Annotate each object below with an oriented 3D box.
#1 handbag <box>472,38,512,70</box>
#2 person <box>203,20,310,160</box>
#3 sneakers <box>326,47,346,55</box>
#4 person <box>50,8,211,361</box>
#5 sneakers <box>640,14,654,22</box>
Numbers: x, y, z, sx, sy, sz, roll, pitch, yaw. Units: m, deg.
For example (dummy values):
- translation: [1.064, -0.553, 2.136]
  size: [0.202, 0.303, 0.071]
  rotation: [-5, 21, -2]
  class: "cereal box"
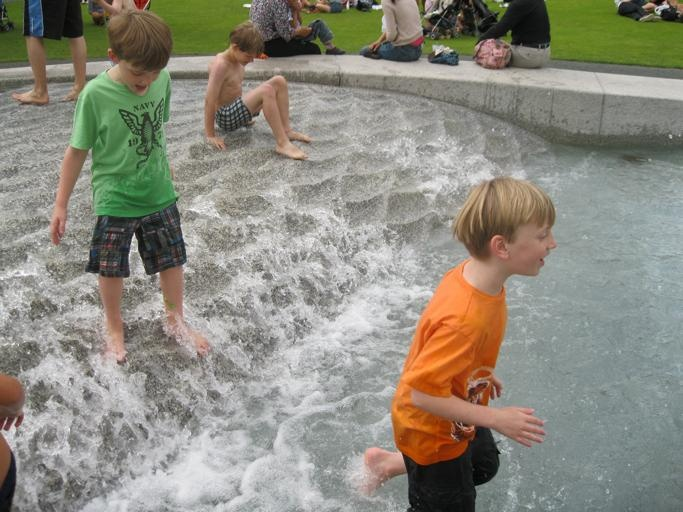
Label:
- translation: [2.077, -2.797, 7.989]
  size: [0.494, 0.360, 0.275]
  rotation: [16, 25, 23]
  class: "handbag"
- translation: [-0.809, -1.617, 5.523]
  size: [0.955, 1.146, 0.735]
  rotation: [3, 23, -5]
  class: "person"
- translation: [-0.092, -3.097, 8.751]
  size: [0.255, 0.115, 0.130]
  rotation: [-6, 33, -10]
  class: "sneakers"
- translation: [-1.190, -0.330, 3.245]
  size: [0.774, 1.942, 0.439]
  rotation: [-7, 26, -27]
  class: "person"
- translation: [6.606, -5.096, 12.415]
  size: [0.331, 0.129, 0.154]
  rotation: [-16, 30, -12]
  class: "sneakers"
